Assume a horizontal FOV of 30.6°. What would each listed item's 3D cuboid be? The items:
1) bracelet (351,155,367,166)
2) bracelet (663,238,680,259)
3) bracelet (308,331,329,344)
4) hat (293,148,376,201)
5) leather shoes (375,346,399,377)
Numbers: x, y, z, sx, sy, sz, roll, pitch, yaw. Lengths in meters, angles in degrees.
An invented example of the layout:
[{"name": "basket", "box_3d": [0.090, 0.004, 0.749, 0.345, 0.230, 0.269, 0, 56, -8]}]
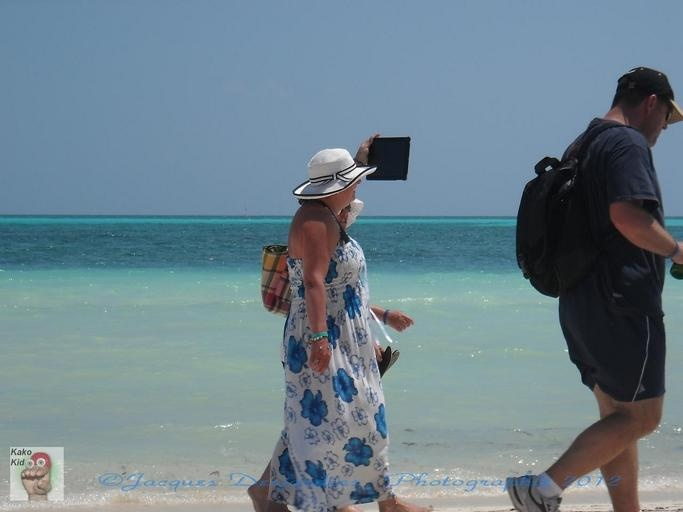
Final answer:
[{"name": "bracelet", "box_3d": [0.184, -0.937, 12.390, 0.175, 0.071, 0.060, 24, 4, -5]}, {"name": "bracelet", "box_3d": [3.094, -0.061, 11.647, 0.103, 0.155, 0.118, 2, 8, -21]}, {"name": "bracelet", "box_3d": [-0.224, 0.746, 11.692, 0.135, 0.048, 0.117, -10, -3, -28]}, {"name": "hat", "box_3d": [-0.075, -0.727, 11.461, 0.772, 0.290, 0.655, -32, 11, -23]}, {"name": "leather shoes", "box_3d": [0.461, 1.029, 12.167, 0.057, 0.340, 0.173, 28, 18, -49]}]
